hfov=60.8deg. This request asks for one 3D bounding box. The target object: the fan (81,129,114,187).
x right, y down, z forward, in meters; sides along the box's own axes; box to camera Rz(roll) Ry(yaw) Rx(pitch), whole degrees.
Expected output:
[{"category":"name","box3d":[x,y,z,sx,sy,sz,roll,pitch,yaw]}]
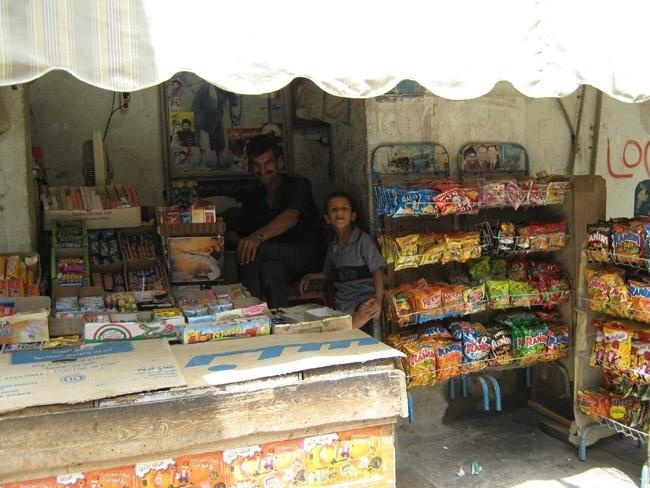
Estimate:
[{"category":"fan","box3d":[-2.017,-0.771,4.908,0.231,0.488,1.240,-7,11,-19]}]

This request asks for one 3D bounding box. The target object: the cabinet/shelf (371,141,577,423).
[{"category":"cabinet/shelf","box3d":[1.136,0.349,4.195,1.450,2.262,0.790,-7,11,-16]}]
